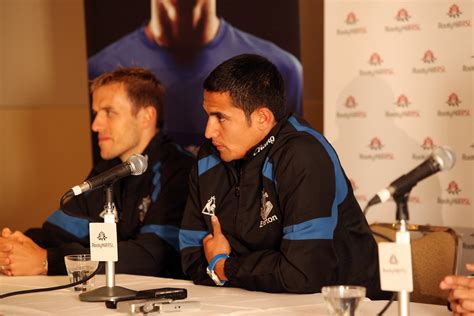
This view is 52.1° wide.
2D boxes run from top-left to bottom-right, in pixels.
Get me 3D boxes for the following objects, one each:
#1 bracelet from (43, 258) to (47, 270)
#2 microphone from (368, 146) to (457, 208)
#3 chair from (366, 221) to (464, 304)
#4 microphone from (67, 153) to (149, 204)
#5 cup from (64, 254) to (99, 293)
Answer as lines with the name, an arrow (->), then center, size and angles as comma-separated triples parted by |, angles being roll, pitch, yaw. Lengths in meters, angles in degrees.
bracelet -> -1.243, 0.696, 3.182 | 0.035, 0.060, 0.011 | -10, -15, 39
microphone -> 1.221, 0.135, 3.315 | 0.674, 0.176, 0.188 | -28, 22, -11
chair -> 1.144, 0.756, 3.191 | 0.498, 0.602, 0.464 | 8, -16, -13
microphone -> -0.685, 0.109, 2.535 | 0.476, 0.122, 0.127 | -25, -43, -21
cup -> -0.848, 0.621, 2.652 | 0.200, 0.220, 0.200 | -1, -8, 0
